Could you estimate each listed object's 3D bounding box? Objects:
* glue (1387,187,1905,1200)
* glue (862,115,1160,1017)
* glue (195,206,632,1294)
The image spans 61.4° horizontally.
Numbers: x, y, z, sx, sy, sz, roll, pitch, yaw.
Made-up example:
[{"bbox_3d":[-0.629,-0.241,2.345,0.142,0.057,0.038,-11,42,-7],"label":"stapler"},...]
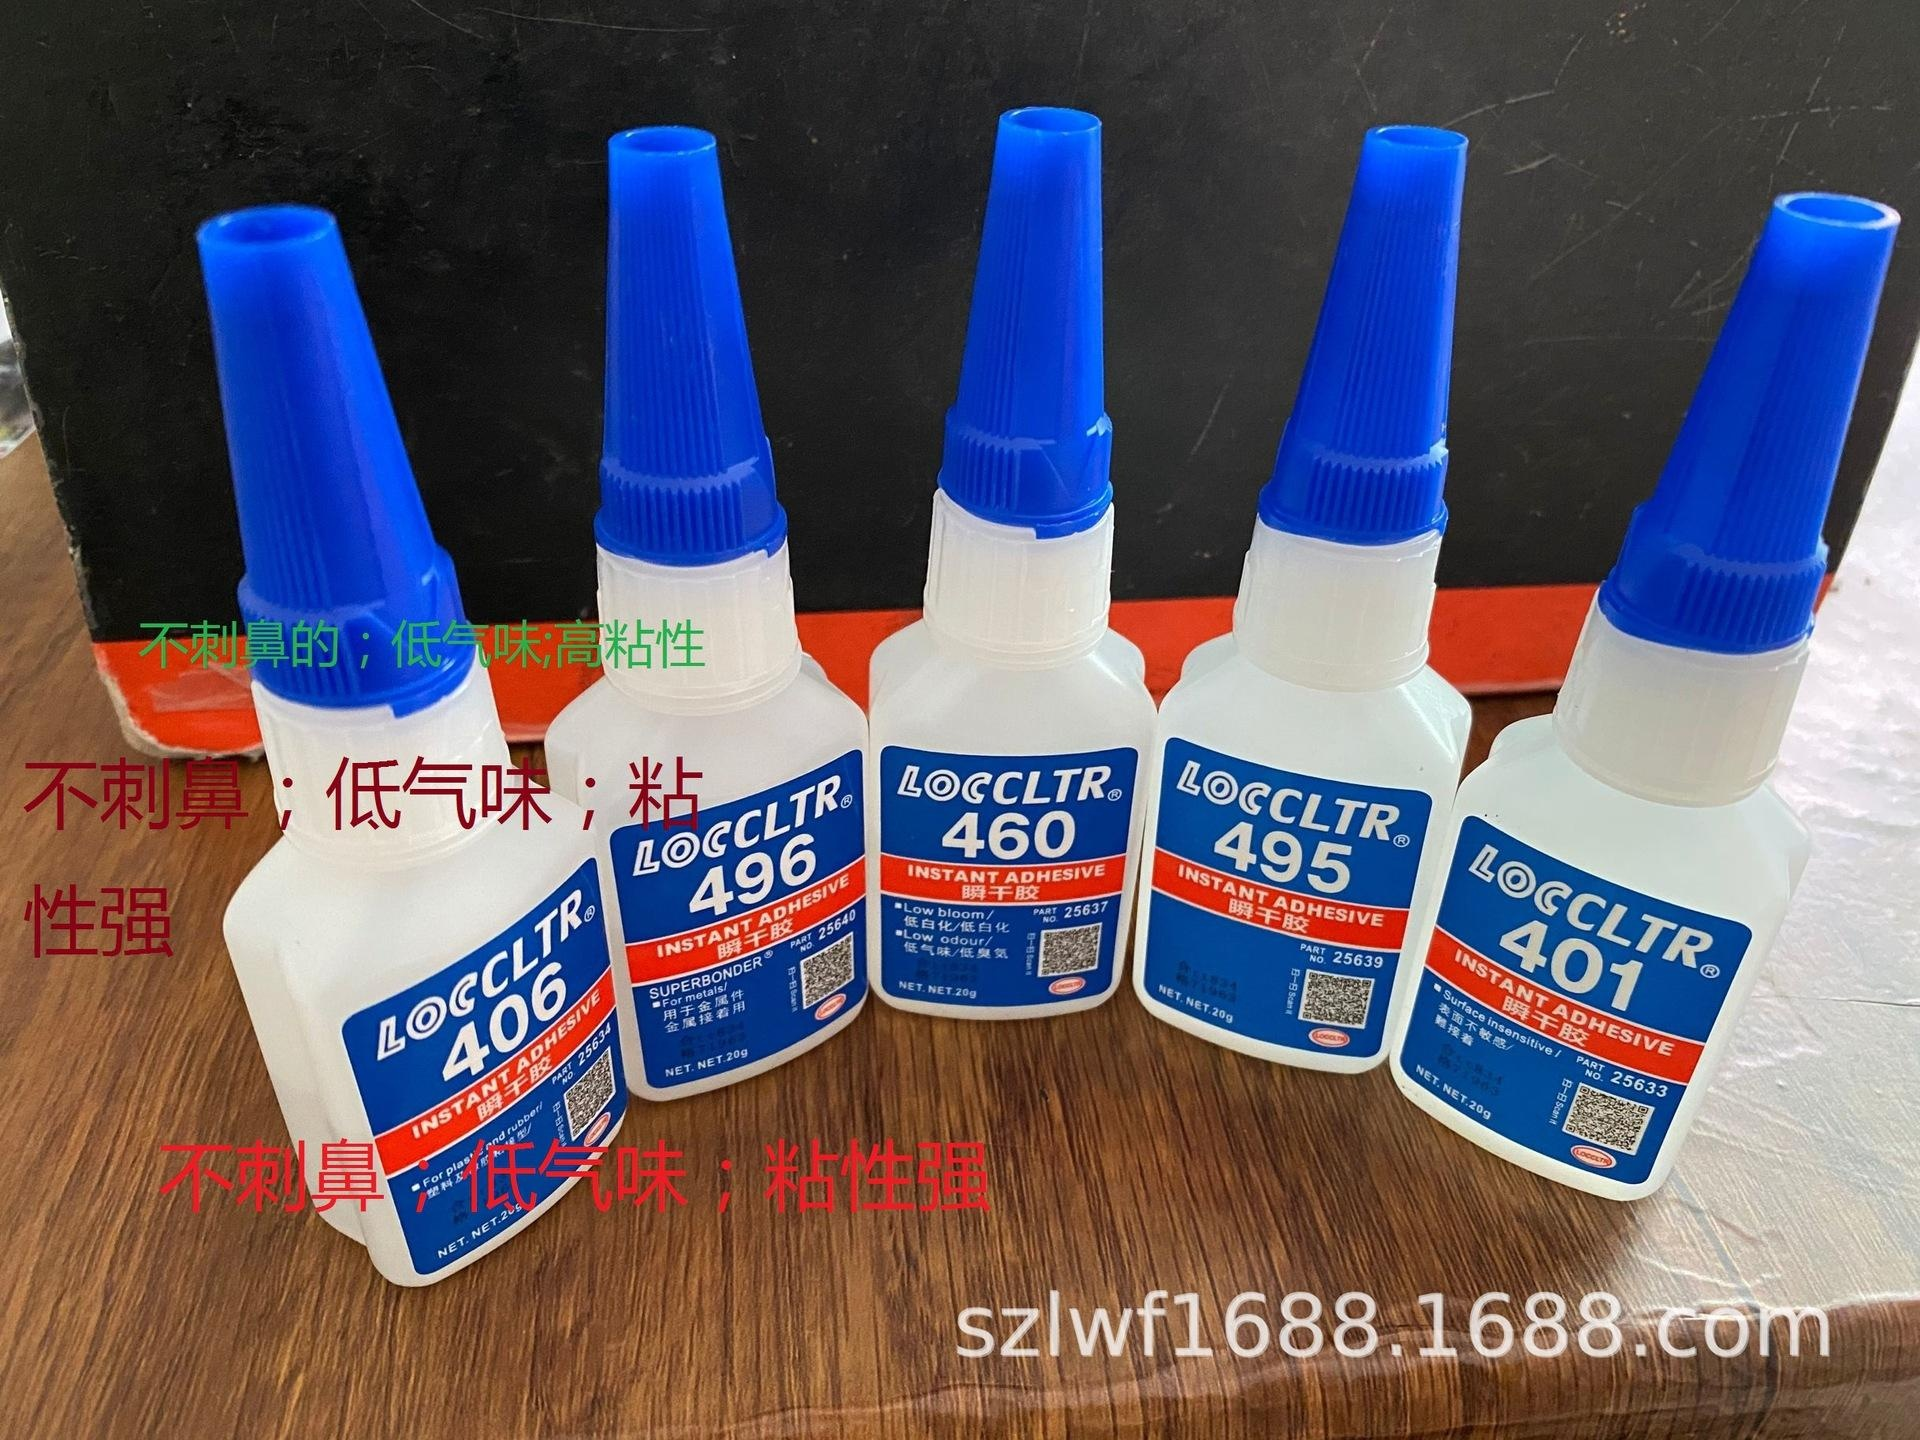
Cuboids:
[{"bbox_3d":[0.262,0.005,0.607,0.122,0.394,0.088,20,36,25],"label":"glue"},{"bbox_3d":[0.024,-0.049,0.647,0.119,0.385,0.086,-4,31,-11],"label":"glue"},{"bbox_3d":[-0.198,0.024,0.554,0.130,0.363,0.093,-28,42,-34],"label":"glue"}]
